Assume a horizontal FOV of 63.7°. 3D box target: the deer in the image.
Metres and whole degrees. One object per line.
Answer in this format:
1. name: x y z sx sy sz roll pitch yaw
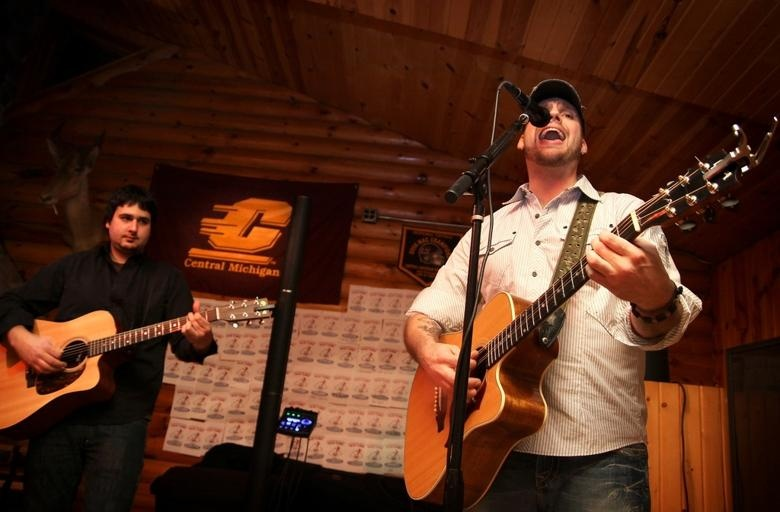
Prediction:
1. deer: -3.577 -0.686 7.035 0.759 1.776 0.762 -13 -29 -10

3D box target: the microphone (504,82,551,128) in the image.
1. microphone: 0.849 -0.897 3.903 0.209 0.315 0.253 2 8 15

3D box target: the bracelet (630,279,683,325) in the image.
1. bracelet: 1.438 0.258 3.398 0.235 0.230 0.056 10 -4 25
